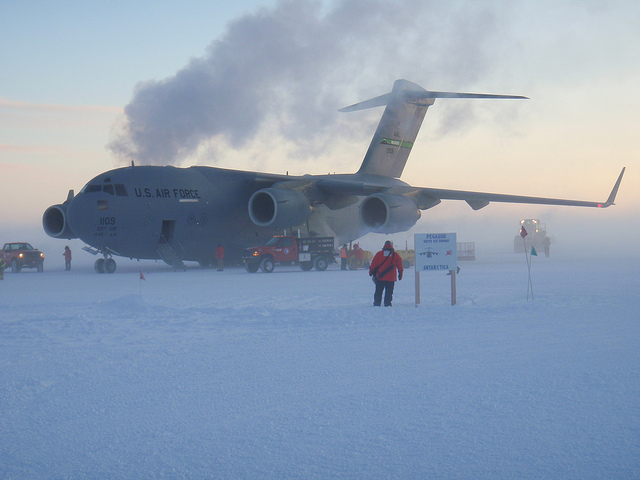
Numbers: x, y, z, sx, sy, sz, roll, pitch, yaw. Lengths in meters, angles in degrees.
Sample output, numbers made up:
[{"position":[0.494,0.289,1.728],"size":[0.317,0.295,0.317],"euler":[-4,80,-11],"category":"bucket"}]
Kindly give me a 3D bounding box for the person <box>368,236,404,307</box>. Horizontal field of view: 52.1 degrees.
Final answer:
[{"position":[1.491,0.722,14.790],"size":[0.727,1.538,1.326],"euler":[0,5,6],"category":"person"}]

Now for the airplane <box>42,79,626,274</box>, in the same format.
[{"position":[-1.632,-3.363,31.884],"size":[20.507,8.192,27.047],"euler":[-3,6,-33],"category":"airplane"}]

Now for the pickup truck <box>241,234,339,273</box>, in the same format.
[{"position":[-1.191,0.520,27.873],"size":[4.100,1.544,1.523],"euler":[0,1,-19],"category":"pickup truck"}]

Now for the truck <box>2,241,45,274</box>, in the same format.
[{"position":[-14.475,0.881,31.851],"size":[1.695,1.355,3.012],"euler":[1,-4,-37],"category":"truck"}]
